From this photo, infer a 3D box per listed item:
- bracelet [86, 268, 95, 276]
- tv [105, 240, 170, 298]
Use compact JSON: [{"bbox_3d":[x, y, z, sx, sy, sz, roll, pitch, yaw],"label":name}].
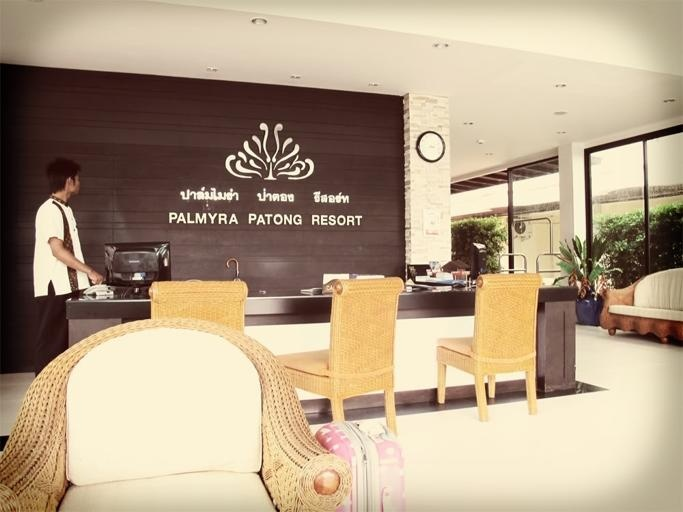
[{"bbox_3d":[-2.165,0.142,4.474,0.056,0.057,0.053,-3,2,4],"label":"bracelet"},{"bbox_3d":[-1.489,0.105,3.779,0.377,0.333,0.129,0,3,-10],"label":"tv"}]
